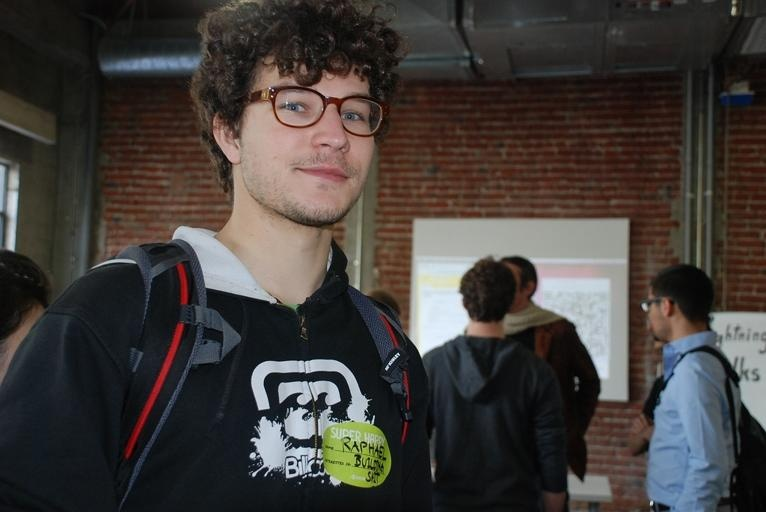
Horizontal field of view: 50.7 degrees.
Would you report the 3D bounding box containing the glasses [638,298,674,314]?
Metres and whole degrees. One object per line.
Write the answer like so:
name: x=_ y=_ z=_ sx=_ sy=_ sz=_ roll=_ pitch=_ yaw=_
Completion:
glasses: x=1.720 y=0.301 z=5.145 sx=0.157 sy=0.050 sz=0.158 roll=4 pitch=3 yaw=35
